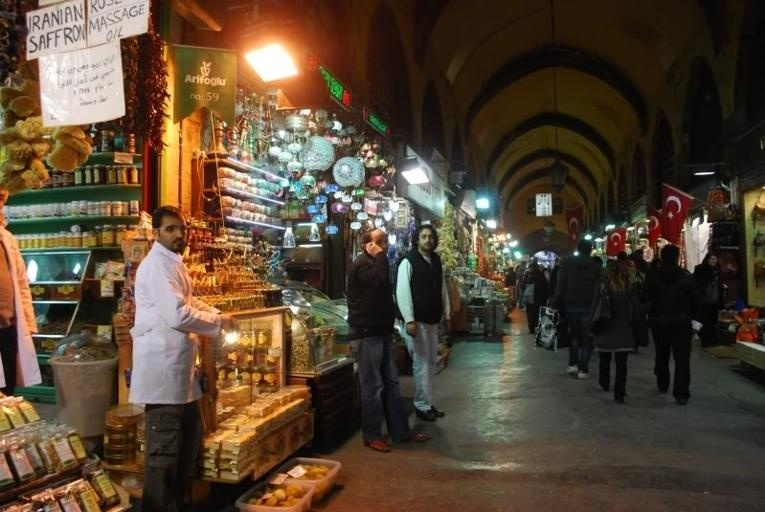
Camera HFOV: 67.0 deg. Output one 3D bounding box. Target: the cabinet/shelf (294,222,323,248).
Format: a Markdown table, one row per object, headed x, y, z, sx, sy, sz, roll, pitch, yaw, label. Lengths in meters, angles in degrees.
| x | y | z | sx | sy | sz | roll | pitch | yaw | label |
| --- | --- | --- | --- | --- | --- | --- | --- | --- | --- |
| -1.364 | -0.396 | 10.656 | 0.386 | 0.437 | 0.782 | -4 | 7 | -30 | cabinet/shelf |

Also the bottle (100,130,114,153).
| x | y | z | sx | sy | sz | roll | pitch | yaw | label |
| --- | --- | --- | --- | --- | --- | --- | --- | --- | --- |
| -3.991 | -1.655 | 8.343 | 0.179 | 0.308 | 0.109 | -4 | 7 | -26 | bottle |

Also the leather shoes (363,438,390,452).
| x | y | z | sx | sy | sz | roll | pitch | yaw | label |
| --- | --- | --- | --- | --- | --- | --- | --- | --- | --- |
| -0.060 | 2.103 | 6.476 | 0.248 | 0.097 | 0.125 | -5 | -4 | 32 | leather shoes |

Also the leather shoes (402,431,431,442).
| x | y | z | sx | sy | sz | roll | pitch | yaw | label |
| --- | --- | --- | --- | --- | --- | --- | --- | --- | --- |
| 0.395 | 2.073 | 6.670 | 0.333 | 0.143 | 0.114 | -4 | -5 | 7 | leather shoes |

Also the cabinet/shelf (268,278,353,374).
| x | y | z | sx | sy | sz | roll | pitch | yaw | label |
| --- | --- | --- | --- | --- | --- | --- | --- | --- | --- |
| -0.971 | 1.046 | 7.095 | 0.836 | 0.989 | 1.472 | -4 | -5 | 14 | cabinet/shelf |

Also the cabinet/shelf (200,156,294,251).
| x | y | z | sx | sy | sz | roll | pitch | yaw | label |
| --- | --- | --- | --- | --- | --- | --- | --- | --- | --- |
| -1.884 | -0.760 | 7.929 | 0.243 | 0.760 | 1.480 | -2 | -5 | 11 | cabinet/shelf |

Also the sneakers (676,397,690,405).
| x | y | z | sx | sy | sz | roll | pitch | yaw | label |
| --- | --- | --- | --- | --- | --- | --- | --- | --- | --- |
| 4.019 | 1.931 | 7.706 | 0.174 | 0.080 | 0.156 | 0 | 6 | 6 | sneakers |

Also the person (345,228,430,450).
| x | y | z | sx | sy | sz | roll | pitch | yaw | label |
| --- | --- | --- | --- | --- | --- | --- | --- | --- | --- |
| -0.061 | 0.925 | 6.553 | 0.573 | 2.433 | 0.593 | -6 | 8 | -39 | person |

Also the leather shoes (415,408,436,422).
| x | y | z | sx | sy | sz | roll | pitch | yaw | label |
| --- | --- | --- | --- | --- | --- | --- | --- | --- | --- |
| 0.525 | 2.008 | 7.316 | 0.277 | 0.126 | 0.113 | -7 | -7 | 33 | leather shoes |

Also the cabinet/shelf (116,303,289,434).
| x | y | z | sx | sy | sz | roll | pitch | yaw | label |
| --- | --- | --- | --- | --- | --- | --- | --- | --- | --- |
| -1.771 | 1.150 | 6.227 | 1.064 | 1.725 | 1.815 | -1 | -2 | 21 | cabinet/shelf |

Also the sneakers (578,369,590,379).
| x | y | z | sx | sy | sz | roll | pitch | yaw | label |
| --- | --- | --- | --- | --- | --- | --- | --- | --- | --- |
| 3.180 | 1.875 | 9.174 | 0.083 | 0.109 | 0.258 | -4 | -16 | 24 | sneakers |

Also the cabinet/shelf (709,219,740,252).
| x | y | z | sx | sy | sz | roll | pitch | yaw | label |
| --- | --- | --- | --- | --- | --- | --- | --- | --- | --- |
| 7.340 | -0.441 | 12.512 | 0.641 | 0.628 | 0.536 | 1 | 2 | 24 | cabinet/shelf |
